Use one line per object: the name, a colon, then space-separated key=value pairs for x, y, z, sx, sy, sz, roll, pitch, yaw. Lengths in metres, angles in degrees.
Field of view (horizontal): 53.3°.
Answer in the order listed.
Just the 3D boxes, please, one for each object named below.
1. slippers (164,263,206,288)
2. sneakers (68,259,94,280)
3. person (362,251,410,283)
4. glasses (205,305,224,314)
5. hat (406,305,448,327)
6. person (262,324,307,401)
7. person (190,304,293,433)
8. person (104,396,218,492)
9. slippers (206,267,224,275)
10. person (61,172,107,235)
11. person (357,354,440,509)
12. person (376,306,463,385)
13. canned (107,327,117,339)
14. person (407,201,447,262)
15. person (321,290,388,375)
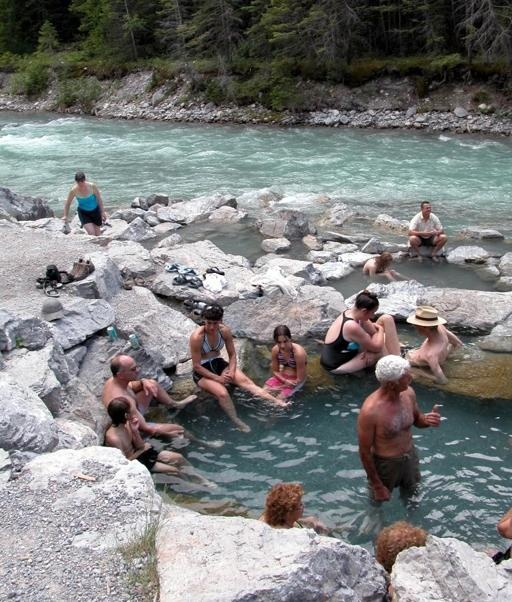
slippers: x=-1.378 y=-0.471 z=9.633 sx=0.450 sy=0.176 sz=0.652 roll=-16 pitch=31 yaw=-35
sneakers: x=-2.805 y=-0.477 z=8.064 sx=0.261 sy=0.174 sz=0.411 roll=20 pitch=56 yaw=26
person: x=2.812 y=-0.664 z=10.465 sx=1.074 sy=0.683 sz=0.411 roll=12 pitch=63 yaw=2
glasses: x=-0.543 y=0.127 z=6.504 sx=0.140 sy=0.052 sz=0.145 roll=1 pitch=10 yaw=-18
hat: x=2.269 y=0.237 z=6.846 sx=0.387 sy=0.122 sz=0.354 roll=3 pitch=17 yaw=22
person: x=0.343 y=0.790 z=6.610 sx=0.544 sy=0.921 sz=0.506 roll=1 pitch=15 yaw=9
person: x=-0.205 y=0.967 z=6.854 sx=0.721 sy=1.066 sz=1.524 roll=-31 pitch=50 yaw=-32
person: x=-1.069 y=1.441 z=5.406 sx=0.991 sy=0.808 sz=0.410 roll=0 pitch=15 yaw=7
slippers: x=-0.807 y=-0.571 z=9.898 sx=0.300 sy=0.095 sz=0.165 roll=-4 pitch=13 yaw=-39
person: x=-3.851 y=-2.143 z=11.324 sx=0.863 sy=1.401 sz=1.138 roll=-6 pitch=14 yaw=-17
person: x=1.312 y=1.194 z=4.727 sx=0.686 sy=1.532 sz=0.444 roll=-15 pitch=20 yaw=-42
person: x=2.439 y=0.525 z=6.995 sx=1.268 sy=0.897 sz=0.835 roll=24 pitch=63 yaw=36
canned: x=-2.081 y=0.467 z=7.301 sx=0.103 sy=0.155 sz=0.080 roll=-5 pitch=57 yaw=-4
person: x=3.807 y=-1.554 z=11.374 sx=0.768 sy=1.240 sz=0.407 roll=2 pitch=15 yaw=15
person: x=1.356 y=0.485 z=7.079 sx=1.063 sy=1.075 sz=0.571 roll=-9 pitch=56 yaw=-11
